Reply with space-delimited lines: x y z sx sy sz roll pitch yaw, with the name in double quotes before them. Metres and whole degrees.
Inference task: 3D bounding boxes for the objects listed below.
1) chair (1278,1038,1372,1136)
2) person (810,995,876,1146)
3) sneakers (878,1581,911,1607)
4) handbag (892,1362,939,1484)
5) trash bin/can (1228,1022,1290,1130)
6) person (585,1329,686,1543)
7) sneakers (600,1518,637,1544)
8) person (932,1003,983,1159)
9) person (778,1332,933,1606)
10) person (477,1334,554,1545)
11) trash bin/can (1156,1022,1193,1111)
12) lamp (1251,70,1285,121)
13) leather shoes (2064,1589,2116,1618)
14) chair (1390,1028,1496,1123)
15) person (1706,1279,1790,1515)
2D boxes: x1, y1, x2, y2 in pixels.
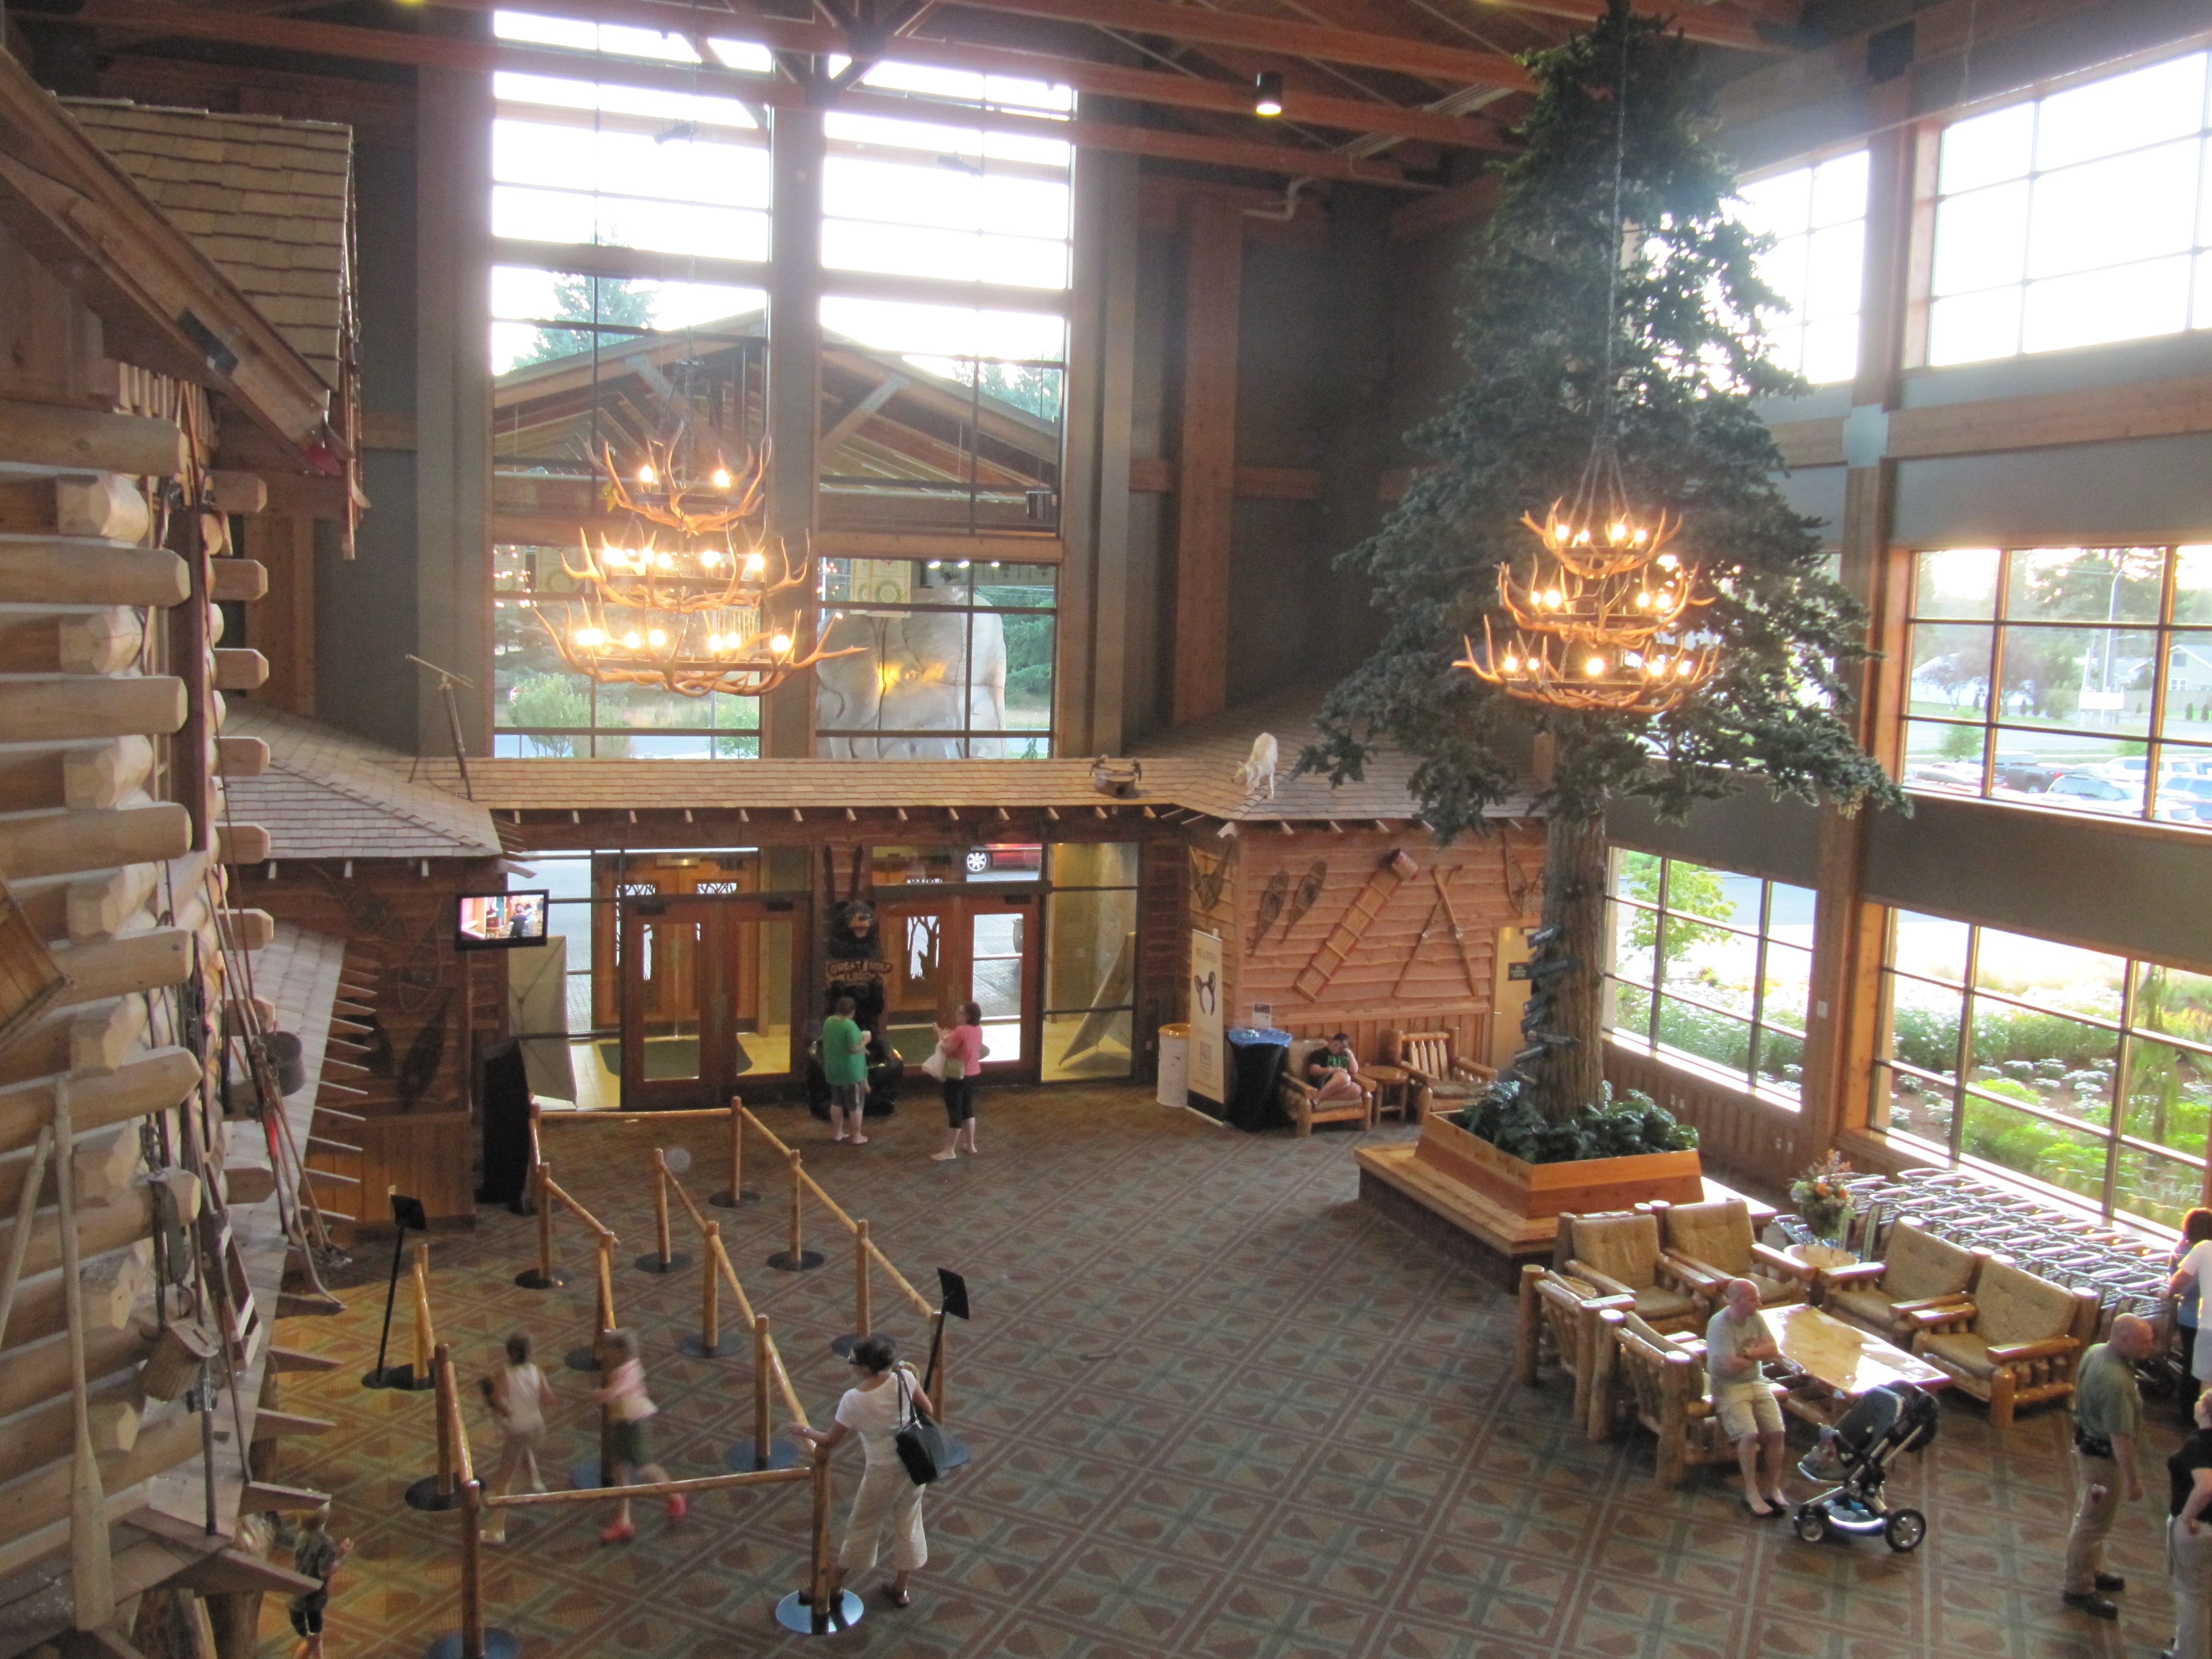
"chair" 2.481 2.892 19.172 0.891 0.863 0.924 1 1 -9
"person" -2.744 2.532 18.182 0.574 1.437 1.447 -1 11 -10
"sneakers" -1.226 4.567 10.151 0.078 0.091 0.232 2 13 -23
"handbag" -1.039 3.520 9.622 0.251 0.759 0.627 -1 11 -9
"trash bin/can" 1.759 2.752 18.865 0.712 1.054 0.413 1 11 -3
"person" -2.931 3.797 10.828 0.506 1.253 0.964 -2 11 -17
"sneakers" -3.041 4.401 10.729 0.187 0.102 0.213 -2 11 -18
"person" -1.512 2.533 17.685 0.477 1.616 0.958 0 11 -7
"person" -1.373 3.769 10.198 0.796 1.561 0.612 -4 9 -19
"person" -3.808 3.728 11.052 0.391 1.235 1.662 -3 11 -19
"trash bin/can" 0.836 2.724 19.721 0.364 0.859 0.553 1 11 0
"lamp" 1.601 -7.010 16.180 0.297 0.449 0.530 2 10 3
"leather shoes" 5.975 4.692 10.340 0.268 0.113 0.116 1 3 13
"chair" 3.785 2.776 19.298 1.013 1.389 1.005 -1 2 -20
"person" 4.311 3.723 11.377 0.598 1.521 0.603 5 12 21
